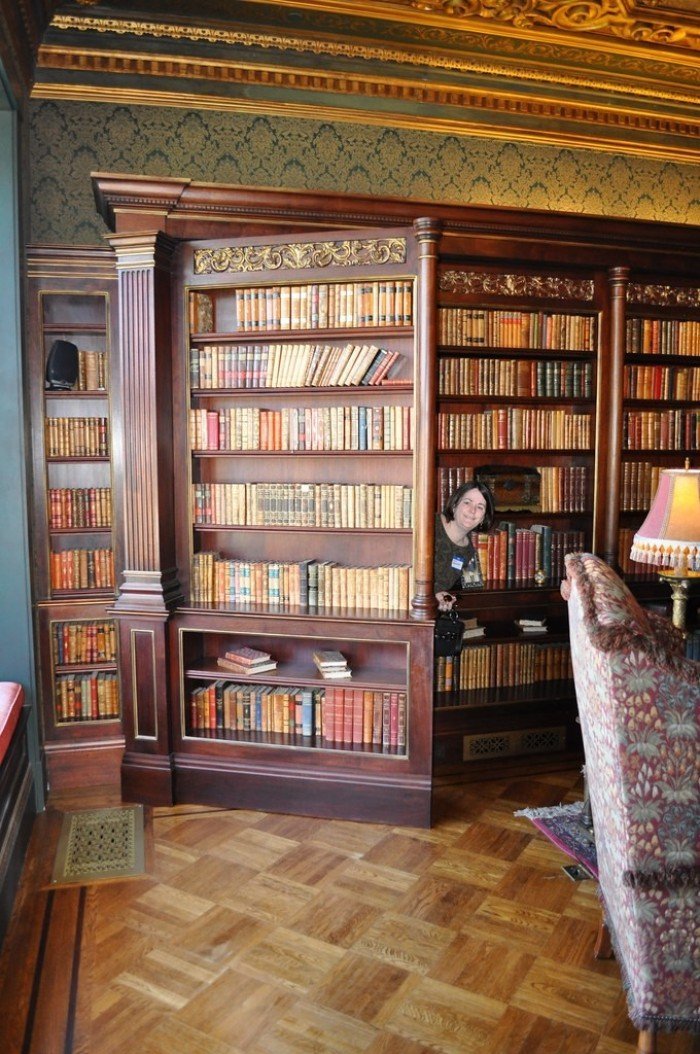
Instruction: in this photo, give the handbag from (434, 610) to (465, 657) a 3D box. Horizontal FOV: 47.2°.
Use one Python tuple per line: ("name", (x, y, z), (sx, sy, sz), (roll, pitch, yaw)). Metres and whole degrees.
("handbag", (0.393, 0.439, 3.225), (0.083, 0.150, 0.119), (4, 5, 39))
